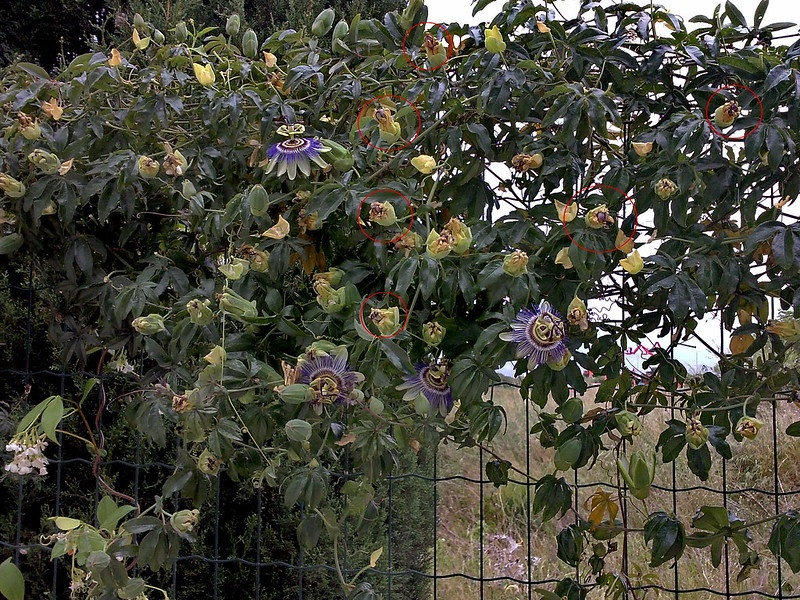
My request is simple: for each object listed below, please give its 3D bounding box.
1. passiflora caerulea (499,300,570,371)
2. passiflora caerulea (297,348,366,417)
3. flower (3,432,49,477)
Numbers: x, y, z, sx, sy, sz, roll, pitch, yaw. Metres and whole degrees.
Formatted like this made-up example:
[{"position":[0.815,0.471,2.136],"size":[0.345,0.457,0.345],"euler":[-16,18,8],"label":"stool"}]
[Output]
[{"position":[0.484,0.139,4.063],"size":[0.278,0.129,0.279],"euler":[15,7,36],"label":"passiflora caerulea"},{"position":[-0.253,0.300,4.029],"size":[0.200,0.105,0.221],"euler":[-8,-13,10],"label":"passiflora caerulea"},{"position":[-1.311,0.537,4.334],"size":[0.142,0.150,0.247],"euler":[8,-14,-16],"label":"flower"}]
